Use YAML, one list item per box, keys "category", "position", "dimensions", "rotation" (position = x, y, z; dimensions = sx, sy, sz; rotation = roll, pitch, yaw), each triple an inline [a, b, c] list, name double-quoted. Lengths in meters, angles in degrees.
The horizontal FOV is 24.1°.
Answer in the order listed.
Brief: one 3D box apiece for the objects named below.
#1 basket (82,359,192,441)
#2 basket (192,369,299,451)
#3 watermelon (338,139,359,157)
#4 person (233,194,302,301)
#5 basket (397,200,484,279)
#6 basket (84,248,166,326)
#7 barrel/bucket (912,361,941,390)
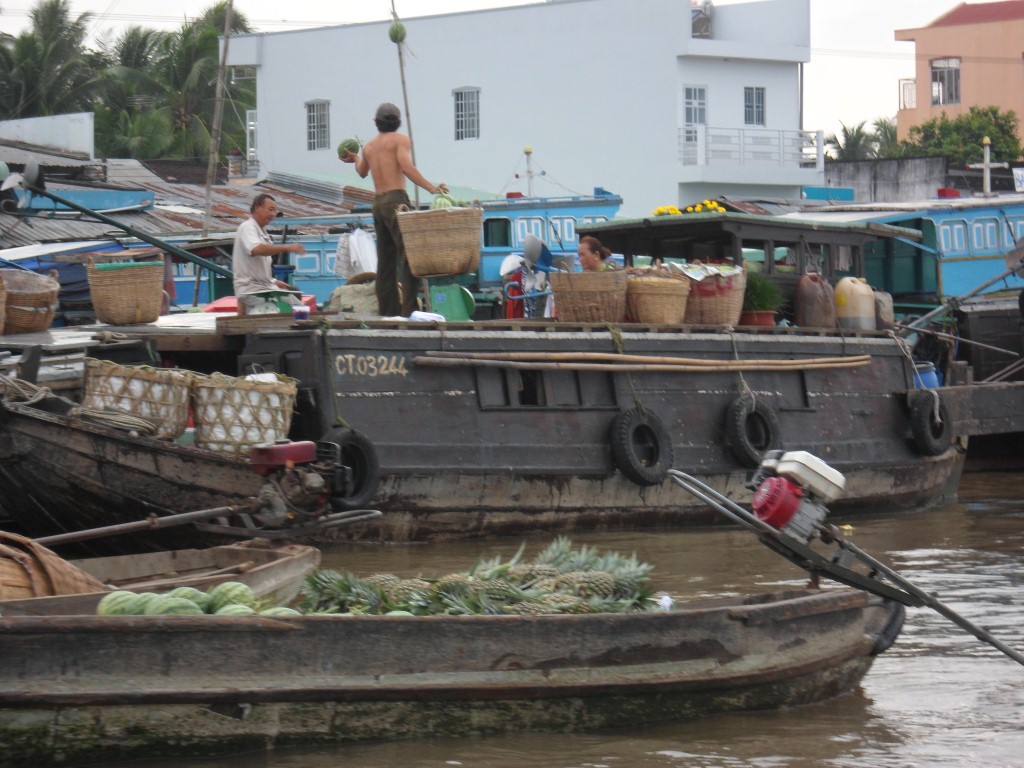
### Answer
- category: "basket"
  position: [-4.889, 0.247, 31.968]
  dimensions: [1.474, 0.795, 0.923]
  rotation: [8, -9, 8]
- category: "basket"
  position: [-3.548, 0.357, 32.135]
  dimensions: [1.202, 1.064, 1.149]
  rotation: [0, 2, 9]
- category: "watermelon"
  position: [-2.473, -3.551, 36.349]
  dimensions: [0.331, 0.296, 0.592]
  rotation: [-2, 5, 9]
- category: "person"
  position: [-3.492, -1.854, 34.179]
  dimensions: [0.777, 1.651, 0.878]
  rotation: [5, 9, 41]
- category: "basket"
  position: [-1.023, -1.981, 34.086]
  dimensions: [1.275, 0.857, 0.931]
  rotation: [-4, 2, 2]
- category: "basket"
  position: [-5.707, -1.362, 35.259]
  dimensions: [1.578, 1.170, 0.957]
  rotation: [2, -6, -32]
- category: "barrel/bucket"
  position: [6.377, -0.112, 37.438]
  dimensions: [0.527, 0.438, 0.499]
  rotation: [0, 9, 0]
